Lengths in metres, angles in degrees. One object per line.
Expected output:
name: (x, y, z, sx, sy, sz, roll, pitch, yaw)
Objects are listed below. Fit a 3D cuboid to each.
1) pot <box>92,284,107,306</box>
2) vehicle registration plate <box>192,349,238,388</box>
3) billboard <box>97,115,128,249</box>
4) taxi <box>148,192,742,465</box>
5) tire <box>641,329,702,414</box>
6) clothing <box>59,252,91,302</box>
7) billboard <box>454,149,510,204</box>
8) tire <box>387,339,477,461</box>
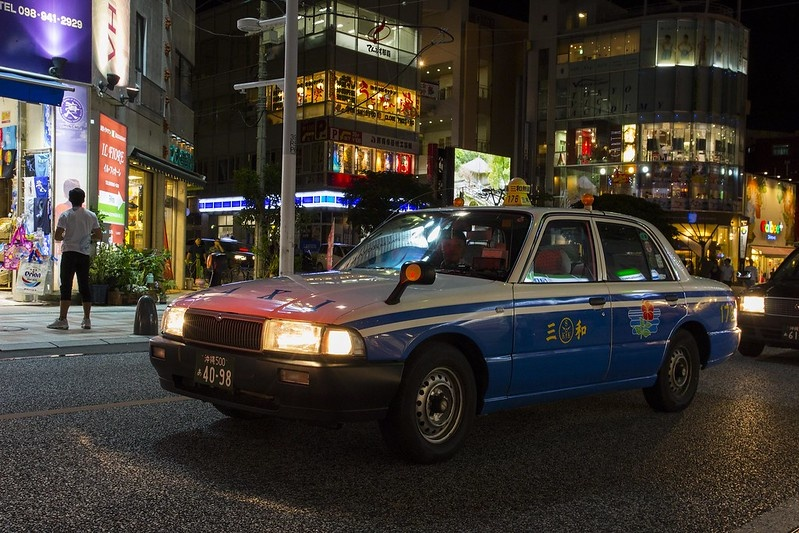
pot: (-7.801, 0.740, 16.128, 0.441, 0.517, 0.451, 2, 5, 0)
vehicle registration plate: (-1.521, 0.845, 5.100, 0.385, 0.297, 0.008, 8, 10, 19)
billboard: (-7.868, -2.599, 17.021, 0.342, 2.875, 1.726, 1, 3, -11)
taxi: (0.716, 0.494, 6.210, 5.575, 2.256, 1.489, 0, 3, -31)
tire: (3.052, 1.182, 7.029, 0.805, 0.955, 0.288, 10, -12, -37)
clothing: (-5.758, 0.198, 11.032, 0.448, 0.909, 0.660, 0, 3, -31)
billboard: (8.011, -8.696, 62.531, 8.538, 5.645, 0.061, 0, 1, -34)
tire: (0.236, 1.091, 5.136, 0.987, 1.131, 0.362, 3, -2, -43)
